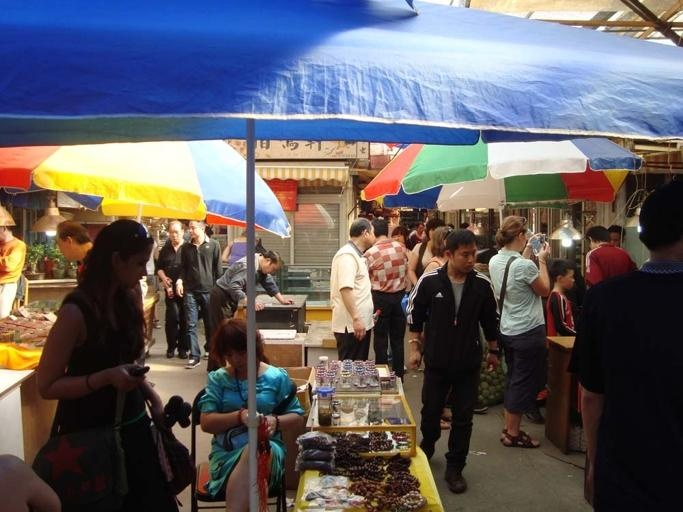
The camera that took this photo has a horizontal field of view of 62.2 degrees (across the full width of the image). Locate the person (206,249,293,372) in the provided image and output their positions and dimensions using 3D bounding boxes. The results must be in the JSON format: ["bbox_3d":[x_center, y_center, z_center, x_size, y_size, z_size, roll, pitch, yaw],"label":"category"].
[{"bbox_3d":[-1.421,0.768,8.170,1.028,1.869,0.936,16,10,25],"label":"person"}]

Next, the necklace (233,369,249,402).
[{"bbox_3d":[-0.664,0.851,3.723,0.076,0.204,0.152,-10,37,-26],"label":"necklace"}]

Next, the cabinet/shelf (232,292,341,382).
[{"bbox_3d":[-0.565,0.829,5.868,0.945,0.261,0.916,1,11,5],"label":"cabinet/shelf"}]

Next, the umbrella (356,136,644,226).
[{"bbox_3d":[1.732,-0.952,6.105,1.885,0.997,1.989,-2,9,11],"label":"umbrella"}]

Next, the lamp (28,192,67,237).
[{"bbox_3d":[-4.730,-0.695,9.207,0.615,0.689,0.606,-5,-7,-9],"label":"lamp"}]

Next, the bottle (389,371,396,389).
[{"bbox_3d":[0.431,1.029,4.694,0.066,0.118,0.069,-1,4,0],"label":"bottle"}]

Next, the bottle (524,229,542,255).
[{"bbox_3d":[2.145,-0.183,6.313,0.231,0.324,0.096,0,-7,11],"label":"bottle"}]

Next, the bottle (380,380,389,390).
[{"bbox_3d":[0.353,1.060,4.646,0.067,0.070,0.049,-2,-9,10],"label":"bottle"}]

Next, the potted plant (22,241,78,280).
[{"bbox_3d":[-5.370,0.141,10.437,1.172,0.851,0.867,2,-5,-24],"label":"potted plant"}]

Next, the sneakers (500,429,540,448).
[{"bbox_3d":[1.833,1.863,5.802,0.303,0.128,0.180,-2,2,2],"label":"sneakers"}]

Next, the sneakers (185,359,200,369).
[{"bbox_3d":[-2.405,1.715,9.020,0.086,0.107,0.263,-2,-6,10],"label":"sneakers"}]

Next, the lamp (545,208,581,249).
[{"bbox_3d":[3.060,-0.351,7.686,0.440,0.465,0.433,0,-4,37],"label":"lamp"}]
